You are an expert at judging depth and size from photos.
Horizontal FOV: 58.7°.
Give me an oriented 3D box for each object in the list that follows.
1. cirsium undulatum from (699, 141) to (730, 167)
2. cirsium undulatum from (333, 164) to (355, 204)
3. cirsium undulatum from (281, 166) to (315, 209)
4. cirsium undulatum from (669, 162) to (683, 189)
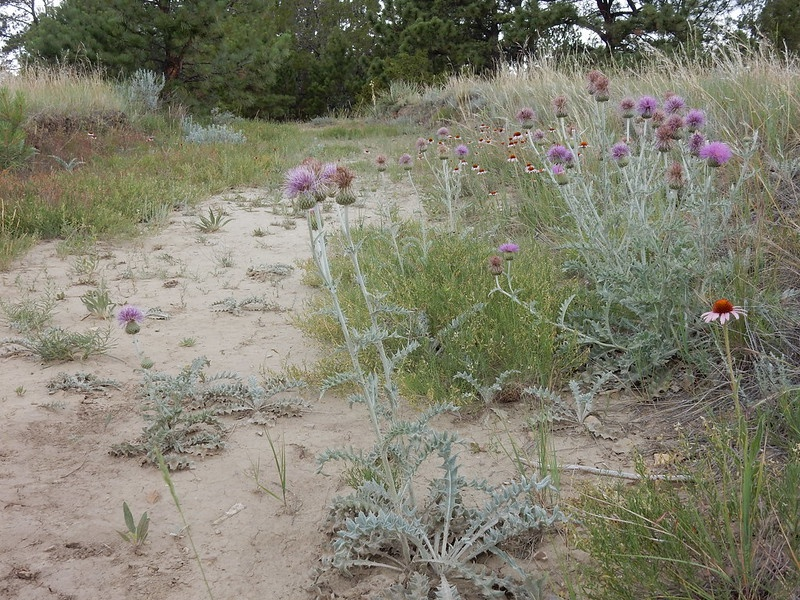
[{"bbox_3d":[2.095,-0.959,4.711,0.233,0.155,0.186,-11,12,2],"label":"cirsium undulatum"},{"bbox_3d":[-0.314,-0.665,4.157,0.130,0.238,0.138,-2,3,24],"label":"cirsium undulatum"},{"bbox_3d":[-0.556,-0.639,4.131,0.203,0.256,0.207,6,11,44],"label":"cirsium undulatum"},{"bbox_3d":[1.871,-0.833,4.819,0.083,0.145,0.099,-8,30,12],"label":"cirsium undulatum"}]
